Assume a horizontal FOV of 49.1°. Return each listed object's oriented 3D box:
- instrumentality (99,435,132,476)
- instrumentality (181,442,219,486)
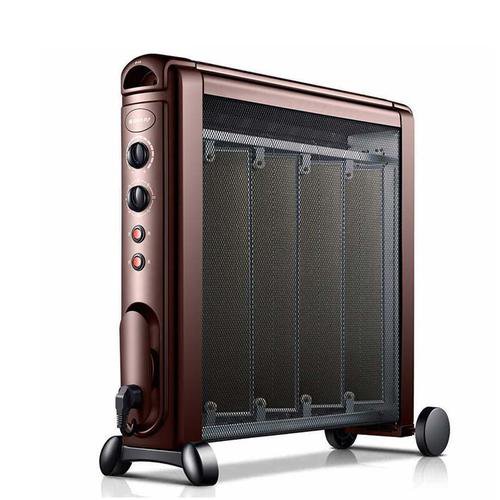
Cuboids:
[{"bbox_3d":[-0.549,0.846,2.235,0.126,0.164,0.136,4,-12,-13],"label":"instrumentality"},{"bbox_3d":[-0.187,0.765,1.965,0.126,0.161,0.072,5,11,38],"label":"instrumentality"}]
